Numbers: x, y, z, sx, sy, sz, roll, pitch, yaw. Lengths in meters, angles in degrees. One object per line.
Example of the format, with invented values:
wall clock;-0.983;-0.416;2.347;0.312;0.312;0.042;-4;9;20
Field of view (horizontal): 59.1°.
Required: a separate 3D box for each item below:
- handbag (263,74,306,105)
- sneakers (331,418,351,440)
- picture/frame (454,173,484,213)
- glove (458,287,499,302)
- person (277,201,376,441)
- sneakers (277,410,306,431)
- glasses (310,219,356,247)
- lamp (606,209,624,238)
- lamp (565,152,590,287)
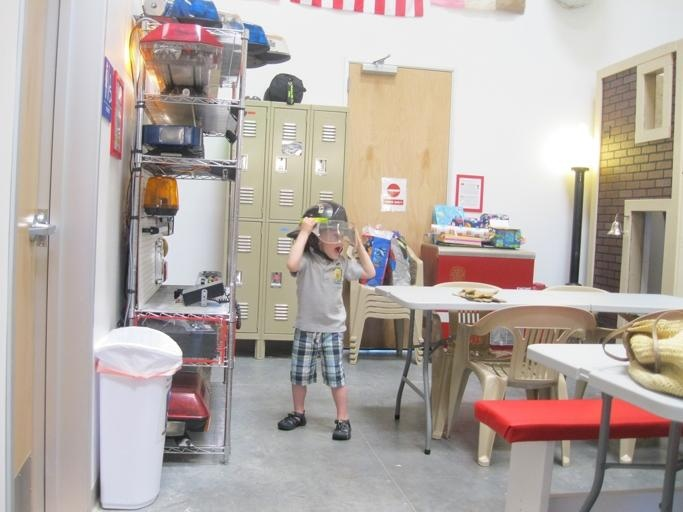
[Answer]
handbag;-0.506;-1.464;5.411;0.243;0.262;0.322;-7;38;-47
sneakers;0.002;1.049;3.625;0.084;0.089;0.202;-1;-11;3
picture/frame;1.269;-0.637;6.056;0.376;0.475;0.049;1;0;-14
glove;0.868;0.229;3.798;0.238;0.046;0.555;4;6;11
person;-0.105;0.380;3.657;0.535;1.408;0.356;2;6;0
sneakers;-0.307;1.039;3.767;0.171;0.079;0.079;4;-5;-38
glasses;-0.052;-0.132;3.469;0.142;0.106;0.187;1;3;-41
lamp;2.640;-0.291;5.832;0.201;0.240;0.207;1;-2;4
lamp;2.340;-0.313;6.016;0.141;1.151;0.477;5;7;21
